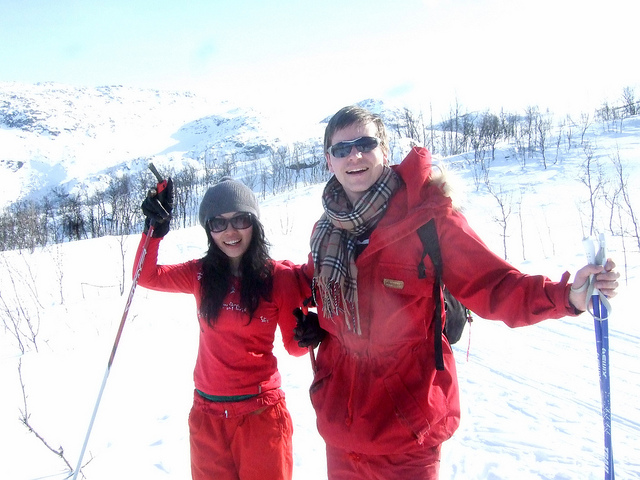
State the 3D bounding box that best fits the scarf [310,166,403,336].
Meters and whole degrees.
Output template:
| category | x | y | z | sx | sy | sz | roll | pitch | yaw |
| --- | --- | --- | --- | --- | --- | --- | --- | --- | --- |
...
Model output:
| category | x | y | z | sx | sy | sz | roll | pitch | yaw |
| --- | --- | --- | --- | --- | --- | --- | --- | --- | --- |
| scarf | 0.334 | 0.108 | 5.186 | 0.875 | 1.610 | 0.460 | -4 | 4 | 4 |
